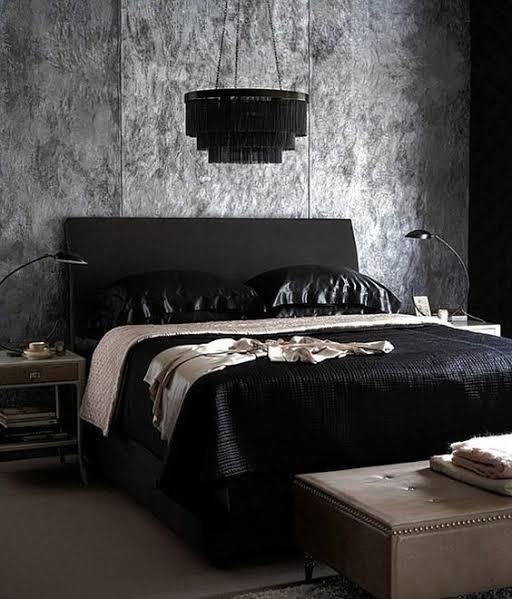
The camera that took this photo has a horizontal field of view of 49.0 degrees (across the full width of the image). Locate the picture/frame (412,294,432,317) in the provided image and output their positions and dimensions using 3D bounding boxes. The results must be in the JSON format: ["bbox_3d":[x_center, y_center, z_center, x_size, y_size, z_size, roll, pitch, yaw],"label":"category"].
[{"bbox_3d":[1.314,0.043,4.489,0.174,0.246,0.025,-4,-36,-7],"label":"picture/frame"}]

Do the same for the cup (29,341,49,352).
[{"bbox_3d":[-1.143,0.239,2.946,0.070,0.048,0.058,2,-1,-14],"label":"cup"}]

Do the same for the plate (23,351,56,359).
[{"bbox_3d":[-1.138,0.287,2.946,0.156,0.046,0.121,0,-4,-16],"label":"plate"}]
